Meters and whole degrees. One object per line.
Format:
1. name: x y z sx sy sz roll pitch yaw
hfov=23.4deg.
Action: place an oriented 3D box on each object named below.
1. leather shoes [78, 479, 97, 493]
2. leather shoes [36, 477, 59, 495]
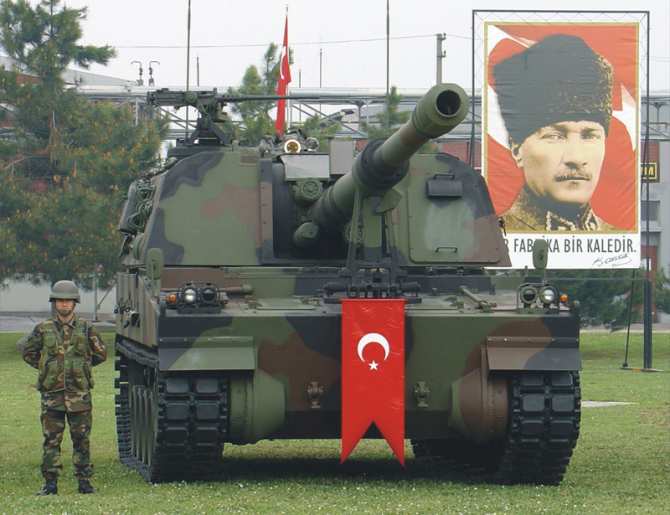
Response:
1. leather shoes: -4.202 3.835 27.452 0.365 0.295 0.140 0 1 -19
2. leather shoes: -4.902 3.809 27.342 0.332 0.249 0.264 -1 5 -14
